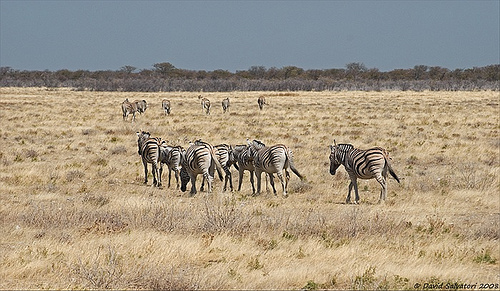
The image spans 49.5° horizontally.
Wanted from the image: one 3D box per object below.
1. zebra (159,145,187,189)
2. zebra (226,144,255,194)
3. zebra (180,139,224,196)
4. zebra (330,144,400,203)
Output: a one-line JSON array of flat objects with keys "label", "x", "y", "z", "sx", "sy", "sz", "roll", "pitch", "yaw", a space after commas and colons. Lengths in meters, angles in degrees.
[{"label": "zebra", "x": -4.149, "y": 1.067, "z": 29.535, "sx": 0.870, "sy": 2.360, "sz": 3.362, "roll": -3, "pitch": -3, "yaw": -25}, {"label": "zebra", "x": -0.195, "y": 1.121, "z": 28.253, "sx": 0.845, "sy": 2.448, "sz": 3.232, "roll": -4, "pitch": 4, "yaw": -33}, {"label": "zebra", "x": -2.527, "y": 1.075, "z": 26.635, "sx": 1.884, "sy": 2.570, "sz": 1.215, "roll": 10, "pitch": 17, "yaw": 40}, {"label": "zebra", "x": 5.333, "y": 1.237, "z": 25.554, "sx": 1.227, "sy": 3.090, "sz": 3.860, "roll": -4, "pitch": 0, "yaw": -43}]
